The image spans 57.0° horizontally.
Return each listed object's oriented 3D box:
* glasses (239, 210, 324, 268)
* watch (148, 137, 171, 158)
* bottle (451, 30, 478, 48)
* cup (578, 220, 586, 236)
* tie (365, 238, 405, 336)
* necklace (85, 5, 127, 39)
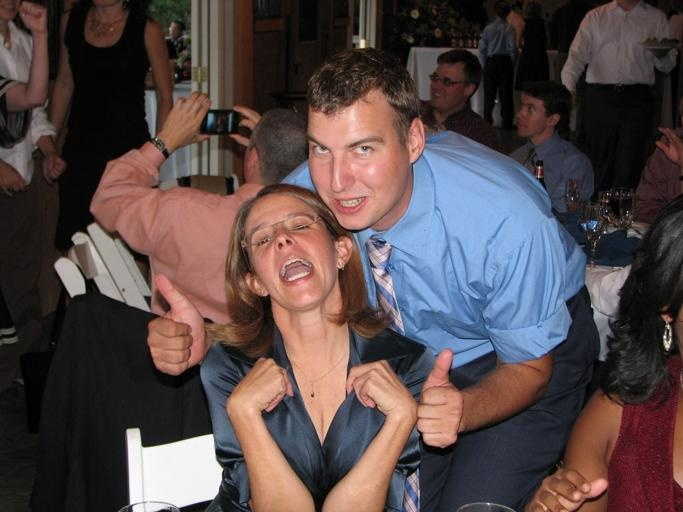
[{"bbox_3d":[-0.212,-0.043,2.312,0.174,0.057,0.185,-28,-11,-7],"label":"glasses"},{"bbox_3d":[-0.942,-0.578,3.324,0.100,0.111,0.098,34,3,-16],"label":"watch"},{"bbox_3d":[2.468,-4.331,12.638,0.573,0.333,0.390,6,16,11],"label":"bottle"},{"bbox_3d":[1.458,-0.180,3.849,0.024,0.069,0.058,-5,-14,10],"label":"cup"},{"bbox_3d":[0.166,0.079,2.498,0.086,0.481,0.112,-14,6,2],"label":"tie"},{"bbox_3d":[-1.621,-1.594,4.356,0.169,0.272,0.088,-14,-17,5],"label":"necklace"}]
